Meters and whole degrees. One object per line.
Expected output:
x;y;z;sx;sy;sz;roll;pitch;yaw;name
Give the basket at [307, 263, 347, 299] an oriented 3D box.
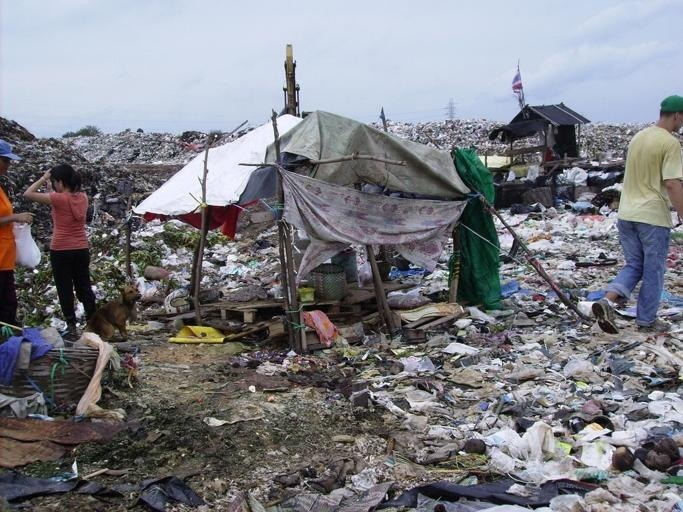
-0.140;0.332;7.085;0.394;0.460;0.231;-5;5;-12;basket
